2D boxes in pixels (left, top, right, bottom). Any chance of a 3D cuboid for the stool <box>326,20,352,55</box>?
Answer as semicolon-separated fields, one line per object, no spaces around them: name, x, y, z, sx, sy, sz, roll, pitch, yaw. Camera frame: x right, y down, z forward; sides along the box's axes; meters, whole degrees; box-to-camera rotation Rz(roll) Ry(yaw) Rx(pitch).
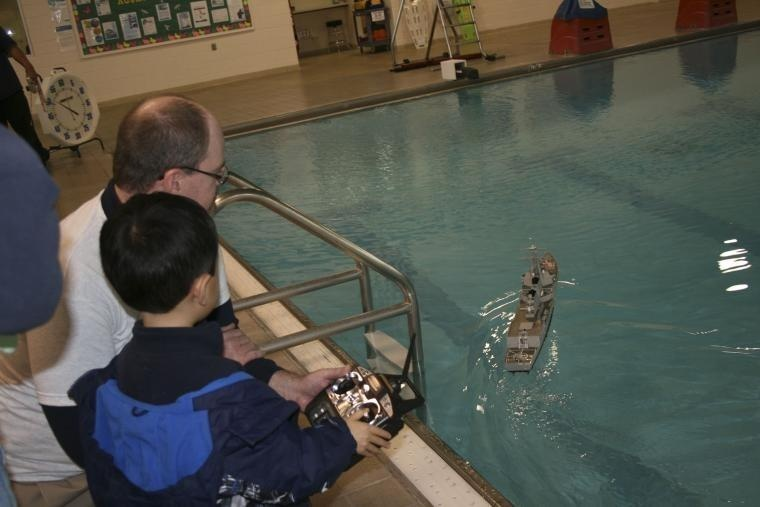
stool;-1.111;-5.875;15.054;0.788;0.795;0.438;-27;31;-37

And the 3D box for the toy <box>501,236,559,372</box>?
toy;0.954;0.341;3.540;0.227;0.431;0.943;4;44;25

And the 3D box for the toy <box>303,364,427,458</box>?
toy;-0.035;0.482;1.686;0.332;0.102;0.221;-19;35;-24
